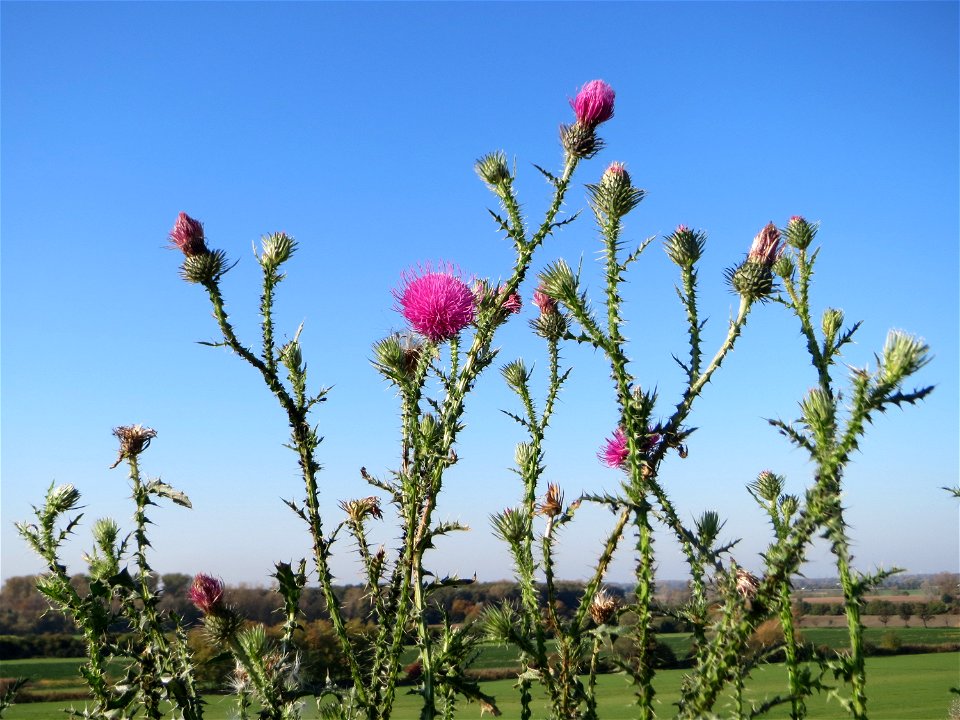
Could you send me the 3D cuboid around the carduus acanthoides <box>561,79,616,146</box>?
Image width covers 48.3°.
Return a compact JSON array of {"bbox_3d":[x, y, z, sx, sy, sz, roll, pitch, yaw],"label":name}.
[{"bbox_3d":[0.700,-1.726,7.287,0.302,0.466,0.368,3,12,15],"label":"carduus acanthoides"}]
